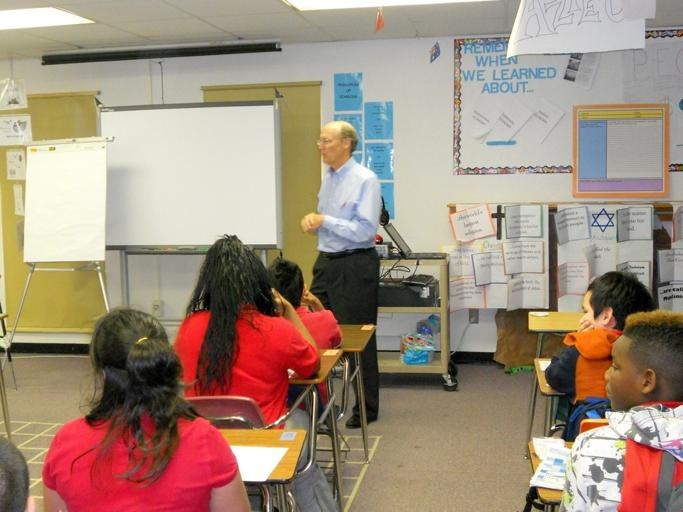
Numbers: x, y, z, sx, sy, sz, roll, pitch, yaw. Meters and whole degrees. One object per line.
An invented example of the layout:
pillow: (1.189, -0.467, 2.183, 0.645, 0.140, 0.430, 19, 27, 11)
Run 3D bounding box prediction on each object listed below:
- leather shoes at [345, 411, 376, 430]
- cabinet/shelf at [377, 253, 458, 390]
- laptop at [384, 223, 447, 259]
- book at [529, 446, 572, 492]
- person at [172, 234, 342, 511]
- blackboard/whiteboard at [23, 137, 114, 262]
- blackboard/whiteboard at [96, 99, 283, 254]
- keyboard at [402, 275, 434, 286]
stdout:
leather shoes: (0.162, 1.088, 4.261, 0.251, 0.109, 0.092, 3, -2, -22)
cabinet/shelf: (0.621, 0.500, 5.172, 0.629, 1.035, 0.747, -1, 9, 3)
laptop: (0.555, -0.085, 5.034, 0.347, 0.220, 0.357, -2, 5, 6)
book: (0.664, 0.680, 2.043, 0.120, 0.012, 0.254, 0, 12, 19)
person: (-0.344, 0.562, 3.331, 0.487, 1.171, 0.670, 24, 14, 21)
blackboard/whiteboard: (-2.174, -0.457, 5.110, 1.006, 1.308, 0.095, 0, -1, 7)
blackboard/whiteboard: (-1.194, -0.665, 5.186, 1.304, 1.012, 0.135, 0, 5, 9)
keyboard: (0.601, 0.183, 4.950, 0.222, 0.051, 0.258, 4, 10, 31)
